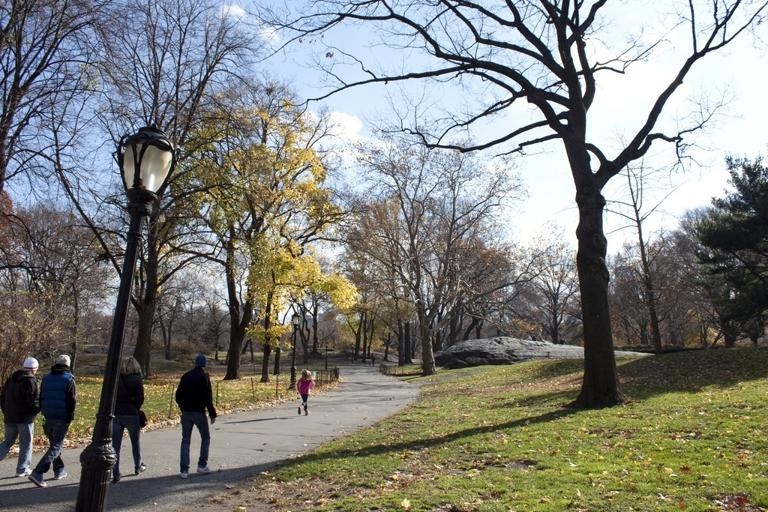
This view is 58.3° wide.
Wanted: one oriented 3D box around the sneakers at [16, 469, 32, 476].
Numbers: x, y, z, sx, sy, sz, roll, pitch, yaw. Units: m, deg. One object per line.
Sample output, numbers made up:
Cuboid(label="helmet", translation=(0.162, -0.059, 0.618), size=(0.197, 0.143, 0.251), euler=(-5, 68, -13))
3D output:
Cuboid(label="sneakers", translation=(-10.033, 6.036, 19.232), size=(0.168, 0.237, 0.330), euler=(6, -3, 26))

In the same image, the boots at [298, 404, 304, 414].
Cuboid(label="boots", translation=(-3.356, 6.087, 27.413), size=(0.173, 0.414, 0.250), euler=(1, -6, 19))

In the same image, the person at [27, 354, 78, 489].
Cuboid(label="person", translation=(-9.248, 4.556, 19.401), size=(0.971, 3.599, 1.399), euler=(4, -12, -26))

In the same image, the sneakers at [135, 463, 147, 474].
Cuboid(label="sneakers", translation=(-6.946, 6.079, 19.684), size=(0.126, 0.166, 0.359), euler=(4, -12, -2))

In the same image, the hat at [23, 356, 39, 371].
Cuboid(label="hat", translation=(-10.056, 3.044, 19.703), size=(0.419, 0.313, 0.537), euler=(20, -17, -23))

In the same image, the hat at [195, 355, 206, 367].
Cuboid(label="hat", translation=(-5.255, 3.021, 19.815), size=(0.388, 0.395, 0.345), euler=(0, 4, -23))

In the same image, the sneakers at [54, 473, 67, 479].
Cuboid(label="sneakers", translation=(-9.030, 6.157, 19.354), size=(0.136, 0.173, 0.365), euler=(4, -4, 17))

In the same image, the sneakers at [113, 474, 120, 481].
Cuboid(label="sneakers", translation=(-7.449, 6.192, 19.205), size=(0.089, 0.195, 0.194), euler=(0, -8, 8))

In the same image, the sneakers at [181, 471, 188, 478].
Cuboid(label="sneakers", translation=(-5.624, 6.158, 19.450), size=(0.228, 0.200, 0.254), euler=(3, -13, -20))
